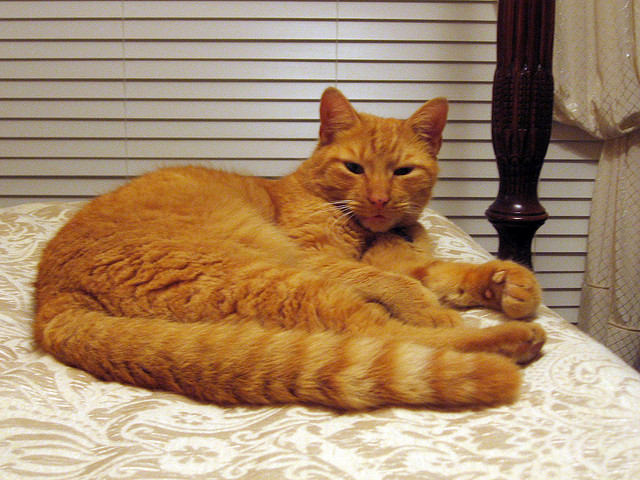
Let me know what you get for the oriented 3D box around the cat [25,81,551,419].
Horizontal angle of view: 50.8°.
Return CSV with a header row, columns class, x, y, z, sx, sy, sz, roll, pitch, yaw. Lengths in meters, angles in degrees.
class,x,y,z,sx,sy,sz,roll,pitch,yaw
cat,-0.065,0.061,1.982,1.472,0.443,0.819,-12,36,-18
